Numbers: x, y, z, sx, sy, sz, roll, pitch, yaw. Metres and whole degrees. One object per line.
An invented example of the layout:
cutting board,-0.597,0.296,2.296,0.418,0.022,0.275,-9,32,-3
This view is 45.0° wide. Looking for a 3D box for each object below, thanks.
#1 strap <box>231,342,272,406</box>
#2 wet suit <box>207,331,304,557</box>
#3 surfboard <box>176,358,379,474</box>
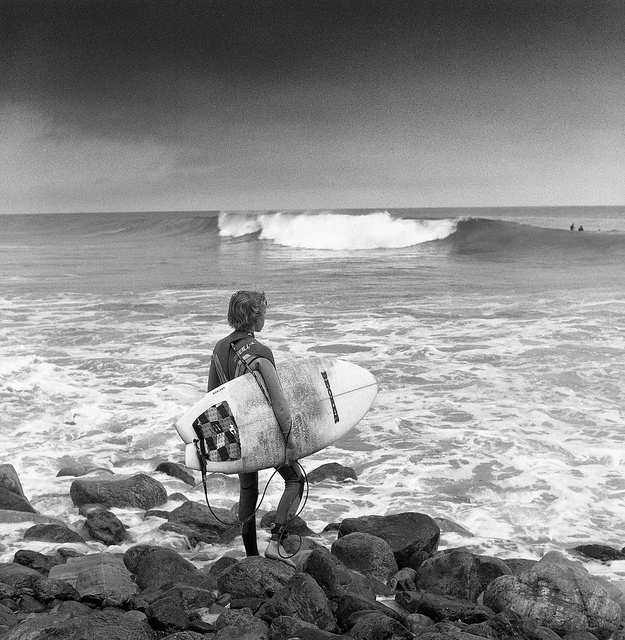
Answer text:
strap,-0.356,0.308,4.314,0.053,0.438,0.049,-4,37,34
wet suit,-0.324,0.795,4.514,0.649,1.526,0.349,11,18,42
surfboard,-0.222,0.579,4.692,1.361,0.593,0.280,-17,-2,-31
